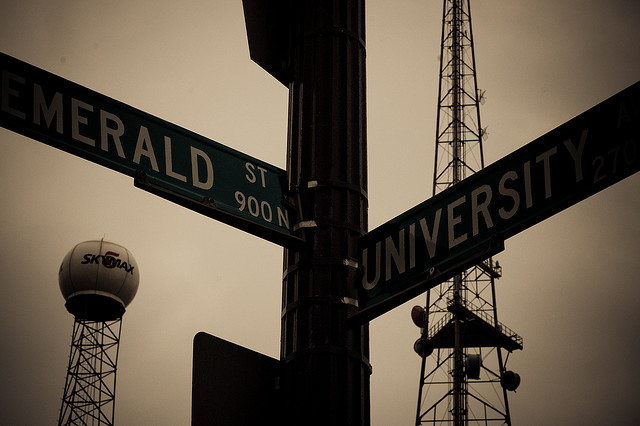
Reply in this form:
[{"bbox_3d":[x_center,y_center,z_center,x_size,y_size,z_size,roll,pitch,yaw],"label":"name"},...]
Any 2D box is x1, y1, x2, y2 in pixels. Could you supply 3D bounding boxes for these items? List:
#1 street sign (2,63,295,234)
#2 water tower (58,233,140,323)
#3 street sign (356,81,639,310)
[{"bbox_3d":[-1.343,-0.486,7.760,1.348,0.352,0.055,26,-37,-18],"label":"street sign"},{"bbox_3d":[-9.138,2.977,42.186,2.955,2.264,3.549,7,-36,-7],"label":"water tower"},{"bbox_3d":[1.419,-0.118,7.884,2.332,1.341,0.313,-14,-37,21],"label":"street sign"}]
